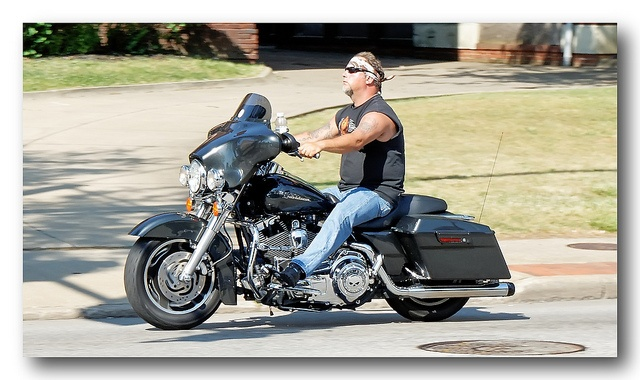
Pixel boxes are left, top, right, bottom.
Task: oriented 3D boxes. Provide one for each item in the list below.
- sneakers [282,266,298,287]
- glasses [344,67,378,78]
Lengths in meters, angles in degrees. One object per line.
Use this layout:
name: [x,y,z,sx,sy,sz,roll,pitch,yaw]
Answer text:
sneakers: [-0.376,1.071,9.291,0.257,0.278,0.093,4,-11,0]
glasses: [0.552,-1.609,9.923,0.315,0.050,0.200,3,-3,-8]
